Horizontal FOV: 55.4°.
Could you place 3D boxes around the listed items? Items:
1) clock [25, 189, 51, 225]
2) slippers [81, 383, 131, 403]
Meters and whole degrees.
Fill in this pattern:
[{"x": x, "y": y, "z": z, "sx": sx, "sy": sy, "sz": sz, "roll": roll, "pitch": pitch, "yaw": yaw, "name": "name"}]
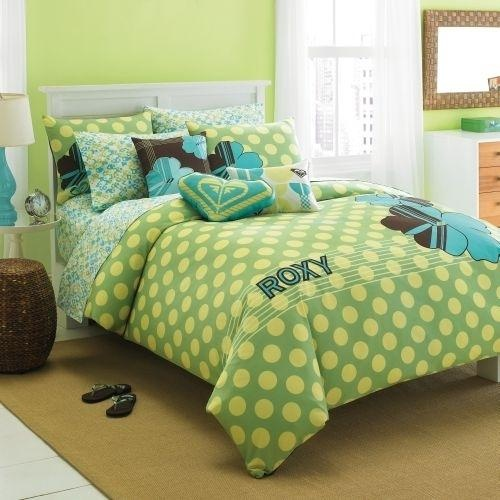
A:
[{"x": -1.041, "y": -0.214, "z": 2.330, "sx": 0.136, "sy": 0.146, "sz": 0.119, "roll": -1, "pitch": 15, "yaw": -19, "name": "clock"}, {"x": -0.548, "y": 0.526, "z": 1.796, "sx": 0.063, "sy": 0.031, "sz": 0.144, "roll": 8, "pitch": 9, "yaw": 43, "name": "slippers"}]
